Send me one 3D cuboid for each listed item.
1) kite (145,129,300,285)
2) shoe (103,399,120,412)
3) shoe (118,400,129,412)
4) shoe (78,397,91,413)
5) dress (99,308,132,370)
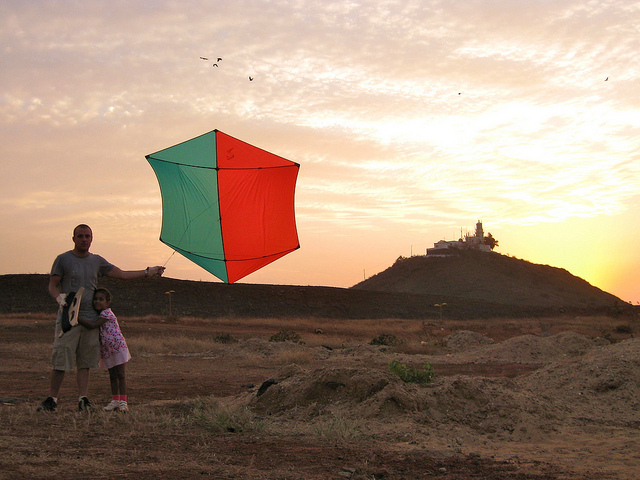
[{"bbox_3d":[-1.821,-0.633,17.726,4.041,2.897,1.498,0,0,-8],"label":"kite"},{"bbox_3d":[-4.123,3.334,18.028,0.413,0.144,0.136,-2,3,2],"label":"shoe"},{"bbox_3d":[-3.908,3.360,18.008,0.215,0.237,0.346,2,-1,-11],"label":"shoe"},{"bbox_3d":[-4.673,3.290,17.950,0.236,0.184,0.349,2,-1,-11],"label":"shoe"},{"bbox_3d":[-4.155,2.025,18.316,0.597,1.253,0.693,2,-1,-10],"label":"dress"}]
